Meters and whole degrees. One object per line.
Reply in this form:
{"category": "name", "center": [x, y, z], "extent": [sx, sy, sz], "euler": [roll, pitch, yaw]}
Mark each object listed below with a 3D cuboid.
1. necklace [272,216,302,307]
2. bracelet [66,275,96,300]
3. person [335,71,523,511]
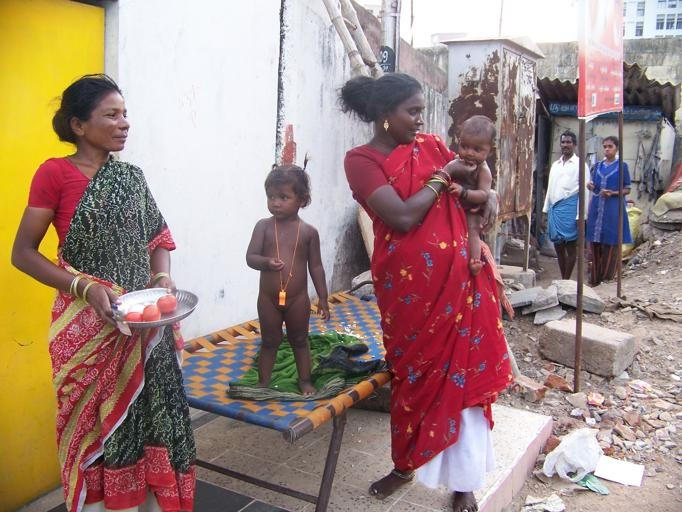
{"category": "necklace", "center": [-0.333, 0.043, 3.612], "extent": [0.171, 0.513, 0.203], "euler": [-2, 11, -5]}
{"category": "bracelet", "center": [-1.180, 0.138, 2.628], "extent": [0.062, 0.099, 0.117], "euler": [28, -19, -26]}
{"category": "person", "center": [0.491, 0.211, 3.287], "extent": [0.945, 2.445, 0.545], "euler": [2, 12, 17]}
